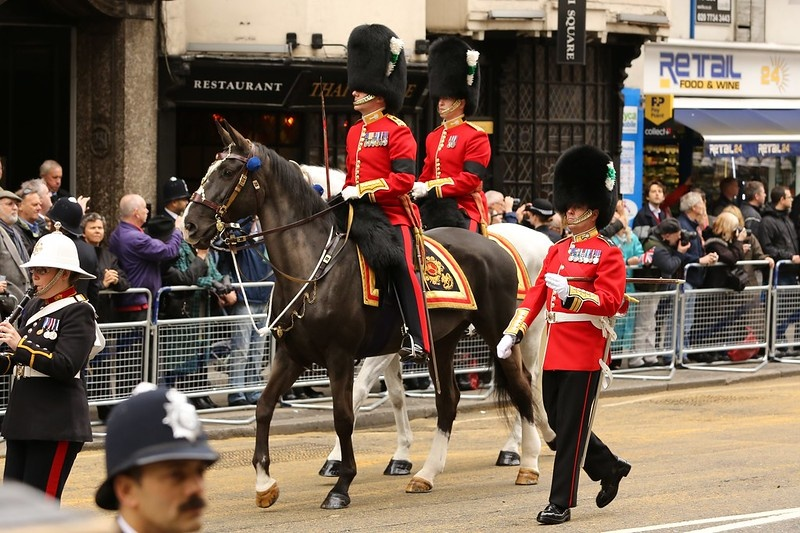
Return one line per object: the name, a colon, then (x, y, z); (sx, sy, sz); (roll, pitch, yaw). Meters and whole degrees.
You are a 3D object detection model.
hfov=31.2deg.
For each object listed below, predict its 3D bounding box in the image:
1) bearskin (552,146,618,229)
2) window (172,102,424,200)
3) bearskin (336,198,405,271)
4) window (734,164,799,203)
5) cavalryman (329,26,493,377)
bearskin: (1.977, -0.871, 15.297); (0.731, 0.831, 0.325); (4, -5, 11)
window: (-1.796, -1.942, 24.673); (0.115, 1.732, 3.432); (-6, 1, 43)
bearskin: (-0.340, -0.334, 15.824); (0.763, 0.780, 0.443); (-1, 10, -2)
window: (7.179, -1.668, 28.337); (1.367, 1.125, 0.070); (3, -8, -29)
cavalryman: (-0.160, -0.891, 16.186); (0.947, 3.648, 1.508); (-1, 10, -2)
